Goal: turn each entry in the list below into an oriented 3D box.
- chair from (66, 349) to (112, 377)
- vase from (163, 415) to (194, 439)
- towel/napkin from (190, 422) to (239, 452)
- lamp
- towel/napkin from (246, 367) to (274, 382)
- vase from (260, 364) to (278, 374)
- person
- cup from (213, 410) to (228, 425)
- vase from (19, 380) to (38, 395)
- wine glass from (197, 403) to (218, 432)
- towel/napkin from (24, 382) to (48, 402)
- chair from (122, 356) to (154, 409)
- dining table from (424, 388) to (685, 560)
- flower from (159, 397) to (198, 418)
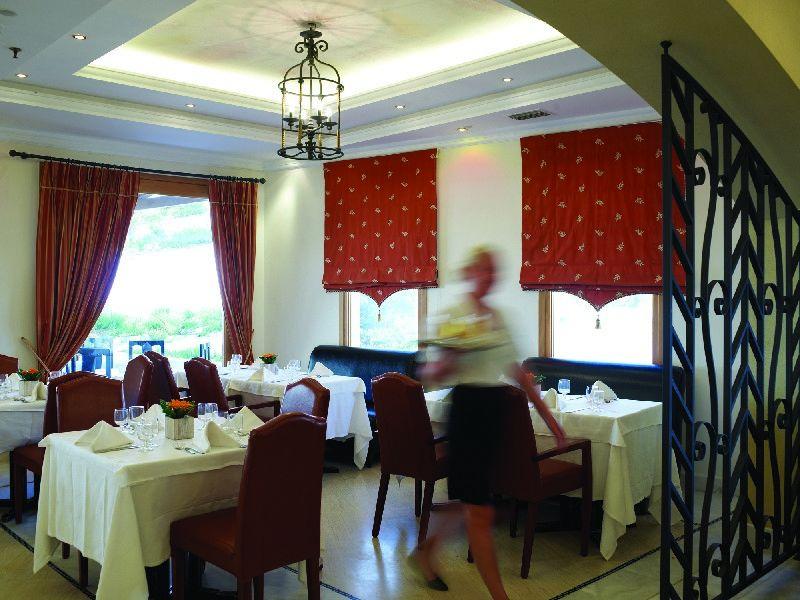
[{"bbox_3d":[-4.158,0.814,8.675,0.470,0.361,0.268,-1,8,-1],"label":"chair"},{"bbox_3d":[-1.489,0.865,4.408,0.150,0.161,0.152,0,1,-36],"label":"vase"},{"bbox_3d":[-1.238,0.909,4.299,0.216,0.094,0.225,0,-3,-45],"label":"towel/napkin"},{"bbox_3d":[-0.889,-2.199,6.551,0.500,1.130,0.481,0,5,10],"label":"lamp"},{"bbox_3d":[-1.520,0.814,7.227,0.185,0.110,0.213,0,-3,4],"label":"towel/napkin"},{"bbox_3d":[-1.466,0.780,7.381,0.115,0.120,0.121,2,-1,24],"label":"vase"},{"bbox_3d":[0.523,0.806,4.143,0.784,2.272,0.385,1,-3,-31],"label":"person"},{"bbox_3d":[-1.312,0.862,4.782,0.108,0.114,0.112,4,-3,0],"label":"cup"},{"bbox_3d":[-3.270,0.765,5.738,0.125,0.149,0.134,-2,-8,27],"label":"vase"},{"bbox_3d":[-1.383,0.852,4.732,0.179,0.224,0.182,2,-4,-7],"label":"wine glass"},{"bbox_3d":[-3.186,0.796,5.701,0.136,0.140,0.175,7,7,44],"label":"towel/napkin"},{"bbox_3d":[-2.461,0.762,6.123,0.227,0.481,0.587,0,-4,-28],"label":"chair"},{"bbox_3d":[1.431,1.186,5.637,1.444,0.695,0.891,-1,8,45],"label":"dining table"},{"bbox_3d":[-1.538,0.744,4.479,0.166,0.103,0.157,-7,-11,35],"label":"flower"}]
